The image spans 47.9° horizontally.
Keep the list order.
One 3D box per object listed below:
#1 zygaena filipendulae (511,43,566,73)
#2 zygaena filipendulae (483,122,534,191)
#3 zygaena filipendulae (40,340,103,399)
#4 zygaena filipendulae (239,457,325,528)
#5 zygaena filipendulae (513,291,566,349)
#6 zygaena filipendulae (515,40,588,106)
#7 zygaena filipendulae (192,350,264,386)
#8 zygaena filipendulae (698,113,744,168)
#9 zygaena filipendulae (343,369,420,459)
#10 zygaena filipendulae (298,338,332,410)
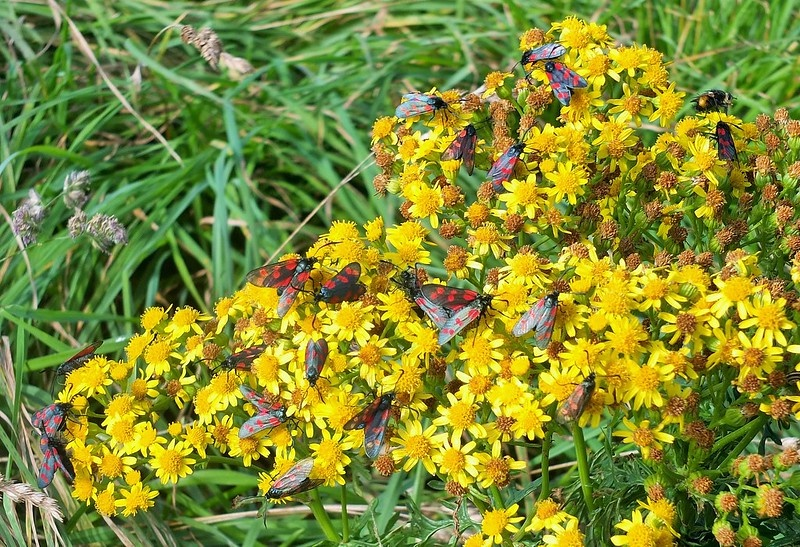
[{"bbox_3d":[0.664,-1.033,4.242,0.148,0.054,0.117,-19,28,33],"label":"zygaena filipendulae"},{"bbox_3d":[0.463,-0.544,4.117,0.255,0.187,0.095,-43,2,34],"label":"zygaena filipendulae"},{"bbox_3d":[-1.537,0.398,4.274,0.264,0.269,0.061,39,11,-47],"label":"zygaena filipendulae"},{"bbox_3d":[-0.521,0.936,3.934,0.090,0.366,0.238,35,17,-35],"label":"zygaena filipendulae"},{"bbox_3d":[0.595,0.173,3.761,0.180,0.082,0.267,20,46,38],"label":"zygaena filipendulae"},{"bbox_3d":[0.727,-0.925,4.272,0.282,0.282,0.079,44,-5,17],"label":"zygaena filipendulae"},{"bbox_3d":[-0.719,0.404,4.014,0.156,0.053,0.183,-24,16,18],"label":"zygaena filipendulae"},{"bbox_3d":[1.462,-0.603,4.210,0.206,0.224,0.063,-7,-28,-40],"label":"zygaena filipendulae"},{"bbox_3d":[-0.104,0.620,3.818,0.205,0.294,0.075,36,12,19],"label":"zygaena filipendulae"},{"bbox_3d":[-0.374,0.425,3.858,0.079,0.293,0.200,20,1,-31],"label":"zygaena filipendulae"}]
